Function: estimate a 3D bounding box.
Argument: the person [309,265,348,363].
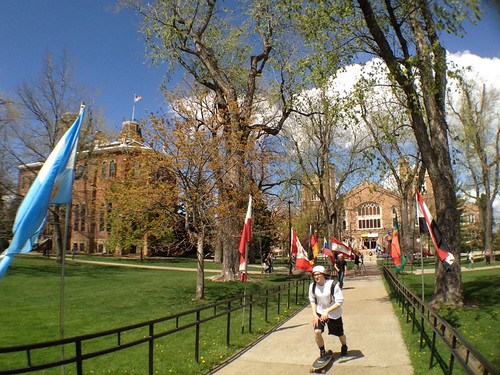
[{"bbox_3d":[2.028,3.218,9.454,0.904,2.335,0.978,0,-11,-3],"label":"person"}]

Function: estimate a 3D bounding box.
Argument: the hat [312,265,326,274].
[{"bbox_3d":[1.817,2.145,9.488,0.356,0.206,0.510,-3,-11,9],"label":"hat"}]

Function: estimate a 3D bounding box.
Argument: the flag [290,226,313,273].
[{"bbox_3d":[2.199,2.719,15.777,0.888,0.338,3.019,-15,-52,-1],"label":"flag"}]

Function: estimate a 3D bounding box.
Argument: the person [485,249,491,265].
[{"bbox_3d":[21.790,6.252,33.086,0.416,1.260,1.172,-8,-13,32],"label":"person"}]

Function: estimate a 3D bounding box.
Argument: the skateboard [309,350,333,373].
[{"bbox_3d":[1.811,4.382,9.181,0.393,0.386,0.737,-7,-12,29],"label":"skateboard"}]

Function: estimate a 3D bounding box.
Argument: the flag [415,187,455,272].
[{"bbox_3d":[6.735,1.494,13.158,1.571,3.033,0.835,7,-13,-34],"label":"flag"}]
